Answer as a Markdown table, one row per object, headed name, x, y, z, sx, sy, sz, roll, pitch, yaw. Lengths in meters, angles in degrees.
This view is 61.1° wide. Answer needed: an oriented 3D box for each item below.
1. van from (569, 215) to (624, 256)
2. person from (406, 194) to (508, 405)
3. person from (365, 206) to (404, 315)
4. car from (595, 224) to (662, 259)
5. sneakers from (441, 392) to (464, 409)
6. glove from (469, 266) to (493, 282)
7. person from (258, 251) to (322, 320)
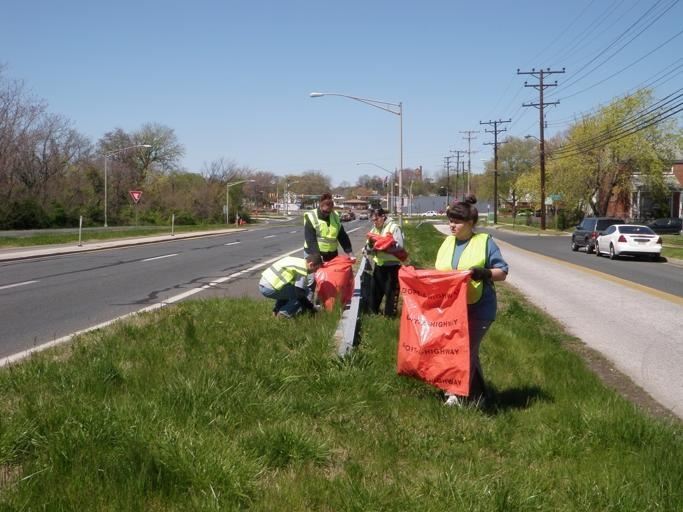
| name | x | y | z | sx | sy | sz | roll | pitch | yaw |
| --- | --- | --- | --- | --- | --- | --- | --- | --- | --- |
| van | 12.866 | -1.178 | 29.426 | 1.046 | 1.236 | 2.406 | 0 | 10 | -2 |
| person | 1.365 | 0.498 | 6.052 | 0.712 | 2.094 | 0.492 | 2 | 3 | 15 |
| person | 0.745 | 0.108 | 9.378 | 0.624 | 1.727 | 1.357 | 1 | 4 | 3 |
| car | 12.767 | -0.603 | 25.915 | 1.482 | 1.489 | 3.041 | 0 | 5 | -11 |
| sneakers | 1.161 | 1.479 | 5.920 | 0.121 | 0.172 | 0.145 | -1 | -9 | -1 |
| glove | 1.434 | 0.188 | 5.856 | 0.258 | 0.135 | 0.081 | -1 | 4 | -26 |
| person | -0.778 | 0.502 | 8.892 | 0.757 | 1.109 | 0.886 | 2 | 0 | 19 |
